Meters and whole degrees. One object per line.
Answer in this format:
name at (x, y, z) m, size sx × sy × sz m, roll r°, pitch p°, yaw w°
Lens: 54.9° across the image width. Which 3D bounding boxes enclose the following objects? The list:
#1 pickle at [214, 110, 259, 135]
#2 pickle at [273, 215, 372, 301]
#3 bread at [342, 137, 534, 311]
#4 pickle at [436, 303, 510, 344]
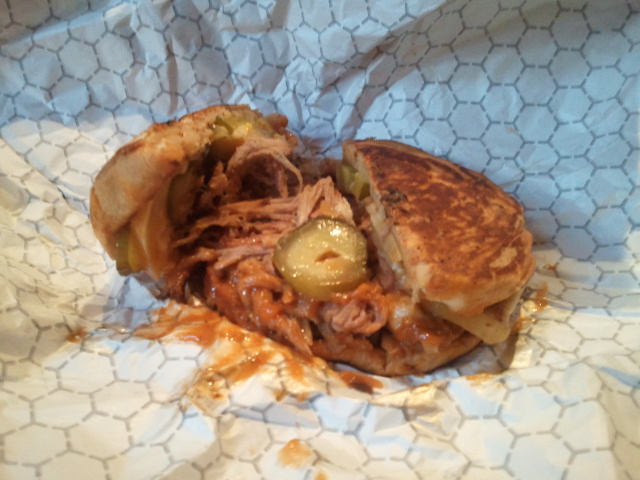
pickle at (-0.525, -0.730, 3.825) m, size 0.184 × 0.053 × 0.187 m, roll -16°, pitch 61°, yaw -45°
pickle at (-0.011, 0.083, 3.623) m, size 0.545 × 0.444 × 0.368 m, roll -5°, pitch 12°, yaw -33°
bread at (0.630, -0.160, 3.505) m, size 0.703 × 0.322 × 1.109 m, roll -29°, pitch 71°, yaw -35°
pickle at (0.880, 0.427, 3.647) m, size 0.383 × 0.252 × 0.362 m, roll -2°, pitch 8°, yaw -4°
